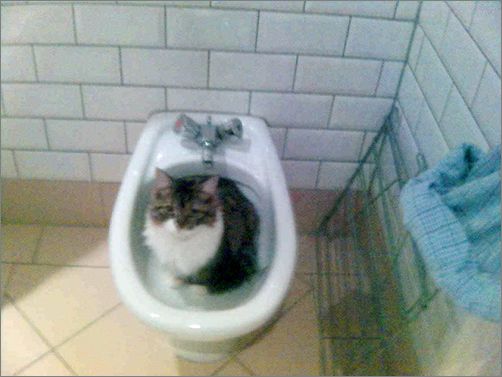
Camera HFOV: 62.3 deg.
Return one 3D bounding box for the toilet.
[{"bbox_3d":[-0.148,0.127,1.493,0.593,0.672,0.909,0,65,0],"label":"toilet"}]
